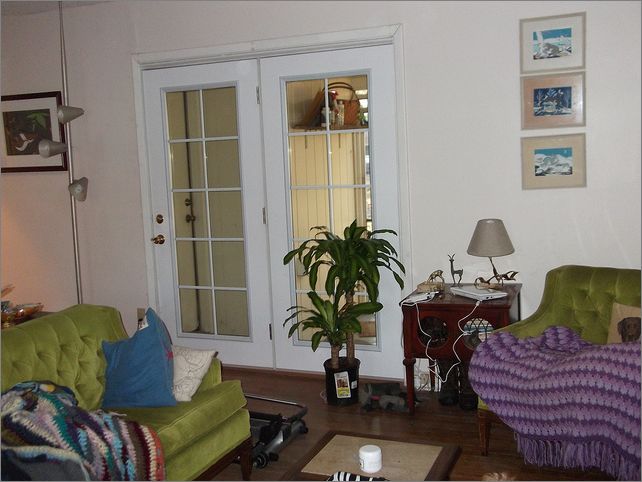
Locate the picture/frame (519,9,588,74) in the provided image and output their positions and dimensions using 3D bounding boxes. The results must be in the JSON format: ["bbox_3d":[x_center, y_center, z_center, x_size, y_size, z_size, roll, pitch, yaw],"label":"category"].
[{"bbox_3d":[1.607,-1.373,3.673,0.432,0.390,0.017,0,3,19],"label":"picture/frame"}]

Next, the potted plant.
[{"bbox_3d":[0.100,0.431,4.538,1.175,1.771,1.103,1,4,8],"label":"potted plant"}]

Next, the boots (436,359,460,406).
[{"bbox_3d":[0.902,1.011,3.814,0.130,0.273,0.382,-5,7,13],"label":"boots"}]

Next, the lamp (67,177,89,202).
[{"bbox_3d":[-1.940,-0.419,4.329,0.134,0.191,0.227,-5,5,-6],"label":"lamp"}]

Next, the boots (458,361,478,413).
[{"bbox_3d":[1.028,1.029,3.726,0.142,0.319,0.432,-3,6,17],"label":"boots"}]

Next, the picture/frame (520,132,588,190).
[{"bbox_3d":[1.640,-0.562,3.738,0.384,0.369,0.030,0,4,22],"label":"picture/frame"}]

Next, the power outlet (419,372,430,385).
[{"bbox_3d":[0.780,1.035,4.045,0.079,0.078,0.019,7,2,24],"label":"power outlet"}]

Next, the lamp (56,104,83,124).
[{"bbox_3d":[-2.018,-1.013,4.265,0.170,0.143,0.153,-1,6,34],"label":"lamp"}]

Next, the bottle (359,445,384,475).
[{"bbox_3d":[0.219,0.955,2.346,0.106,0.095,0.078,-4,5,2],"label":"bottle"}]

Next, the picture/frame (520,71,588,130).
[{"bbox_3d":[1.624,-0.979,3.707,0.396,0.361,0.020,0,2,20],"label":"picture/frame"}]

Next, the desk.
[{"bbox_3d":[0.892,0.601,3.794,0.895,1.015,0.750,-1,2,17],"label":"desk"}]

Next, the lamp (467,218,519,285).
[{"bbox_3d":[1.204,0.076,3.713,0.340,0.543,0.331,-12,10,-28],"label":"lamp"}]

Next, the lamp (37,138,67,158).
[{"bbox_3d":[-2.162,-0.746,4.334,0.201,0.150,0.101,1,-3,-22],"label":"lamp"}]
